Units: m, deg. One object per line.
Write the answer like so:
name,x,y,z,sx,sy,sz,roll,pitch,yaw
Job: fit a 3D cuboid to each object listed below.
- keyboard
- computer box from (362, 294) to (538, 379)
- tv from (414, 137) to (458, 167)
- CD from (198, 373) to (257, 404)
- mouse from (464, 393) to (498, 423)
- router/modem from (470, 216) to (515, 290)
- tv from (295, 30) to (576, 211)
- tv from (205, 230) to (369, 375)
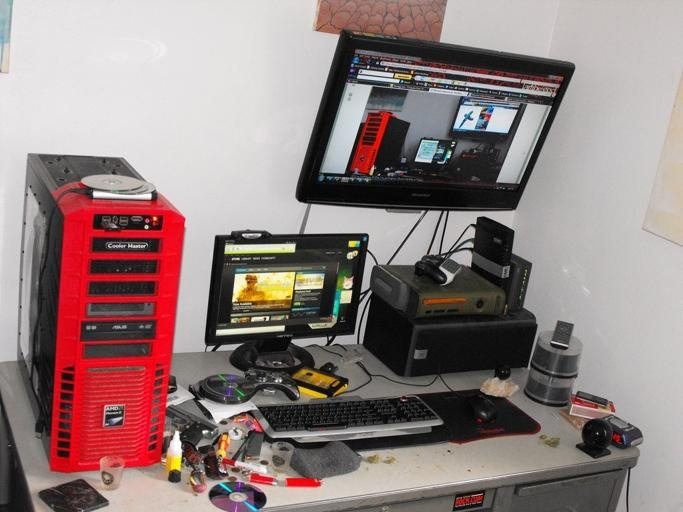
keyboard,0.013,0.514,1.704,0.547,0.061,0.213,1,4,-18
computer box,0.429,0.307,2.144,0.560,0.219,0.341,0,17,-23
tv,0.336,-0.381,1.945,0.143,0.090,0.015,2,35,-18
CD,-0.360,0.414,1.729,0.115,0.029,0.101,7,13,-2
mouse,0.471,0.499,1.783,0.069,0.030,0.099,-7,28,-14
router/modem,0.601,0.009,2.164,0.051,0.259,0.214,-10,28,-18
tv,0.305,-0.488,1.930,1.107,0.637,0.097,2,42,-16
tv,-0.255,0.143,1.970,0.641,0.492,0.326,1,11,-41
